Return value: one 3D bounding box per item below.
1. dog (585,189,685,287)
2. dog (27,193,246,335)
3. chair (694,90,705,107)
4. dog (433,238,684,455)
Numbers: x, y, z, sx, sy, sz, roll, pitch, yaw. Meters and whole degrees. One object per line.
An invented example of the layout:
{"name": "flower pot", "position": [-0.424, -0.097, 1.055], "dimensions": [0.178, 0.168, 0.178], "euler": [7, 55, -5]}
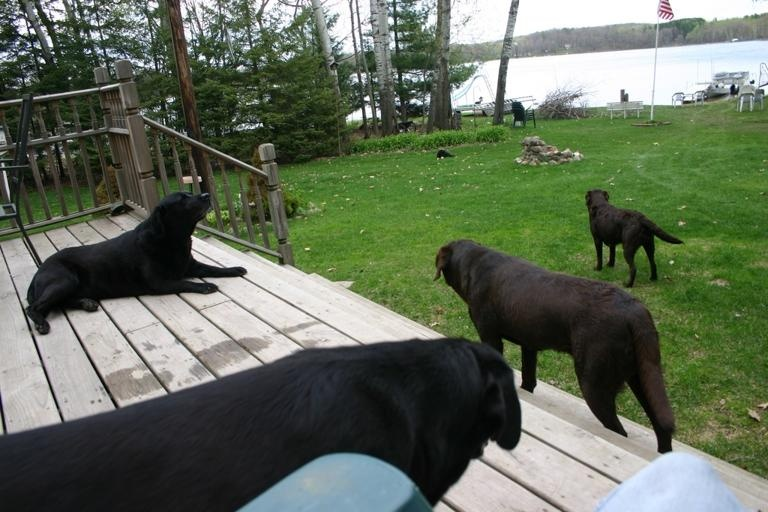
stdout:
{"name": "dog", "position": [3.110, -0.215, 5.975], "dimensions": [0.479, 1.090, 1.962], "euler": [-8, 14, -5]}
{"name": "dog", "position": [-2.045, -0.020, 4.015], "dimensions": [1.675, 0.814, 0.904], "euler": [-7, 14, -12]}
{"name": "chair", "position": [17.546, -8.836, 25.904], "dimensions": [0.430, 0.660, 2.843], "euler": [7, 21, 30]}
{"name": "dog", "position": [1.363, 0.320, 3.856], "dimensions": [0.745, 1.419, 2.654], "euler": [-15, 22, -34]}
